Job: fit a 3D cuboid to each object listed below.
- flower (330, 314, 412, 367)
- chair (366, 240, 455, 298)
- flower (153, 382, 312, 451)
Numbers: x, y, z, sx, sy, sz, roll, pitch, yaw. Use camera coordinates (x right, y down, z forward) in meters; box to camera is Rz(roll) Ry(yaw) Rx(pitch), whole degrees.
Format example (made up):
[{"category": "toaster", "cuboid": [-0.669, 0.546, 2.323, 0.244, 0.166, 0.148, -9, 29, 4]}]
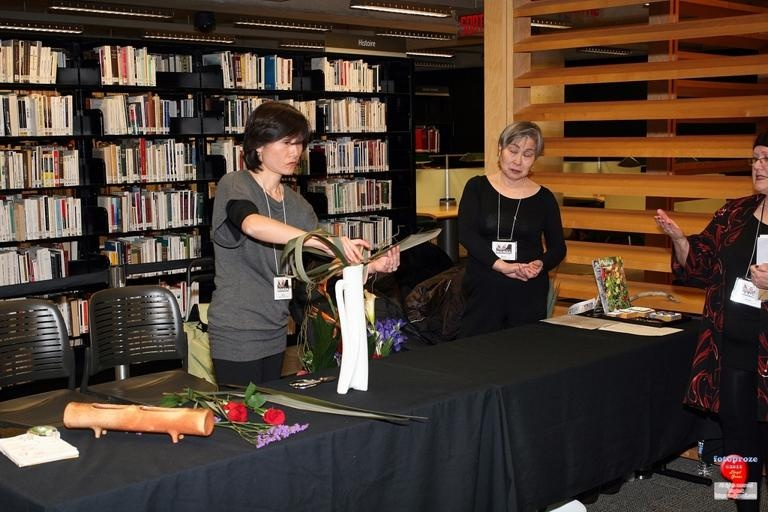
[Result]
[{"category": "flower", "cuboid": [-0.035, 0.392, 2.758, 0.336, 0.167, 0.348, -13, 18, -39]}, {"category": "chair", "cuboid": [0.239, 0.161, 5.003, 0.560, 0.457, 0.897, 6, 14, 21]}, {"category": "flower", "cuboid": [-0.503, 0.545, 1.989, 0.395, 0.088, 0.233, 16, 18, 17]}]
